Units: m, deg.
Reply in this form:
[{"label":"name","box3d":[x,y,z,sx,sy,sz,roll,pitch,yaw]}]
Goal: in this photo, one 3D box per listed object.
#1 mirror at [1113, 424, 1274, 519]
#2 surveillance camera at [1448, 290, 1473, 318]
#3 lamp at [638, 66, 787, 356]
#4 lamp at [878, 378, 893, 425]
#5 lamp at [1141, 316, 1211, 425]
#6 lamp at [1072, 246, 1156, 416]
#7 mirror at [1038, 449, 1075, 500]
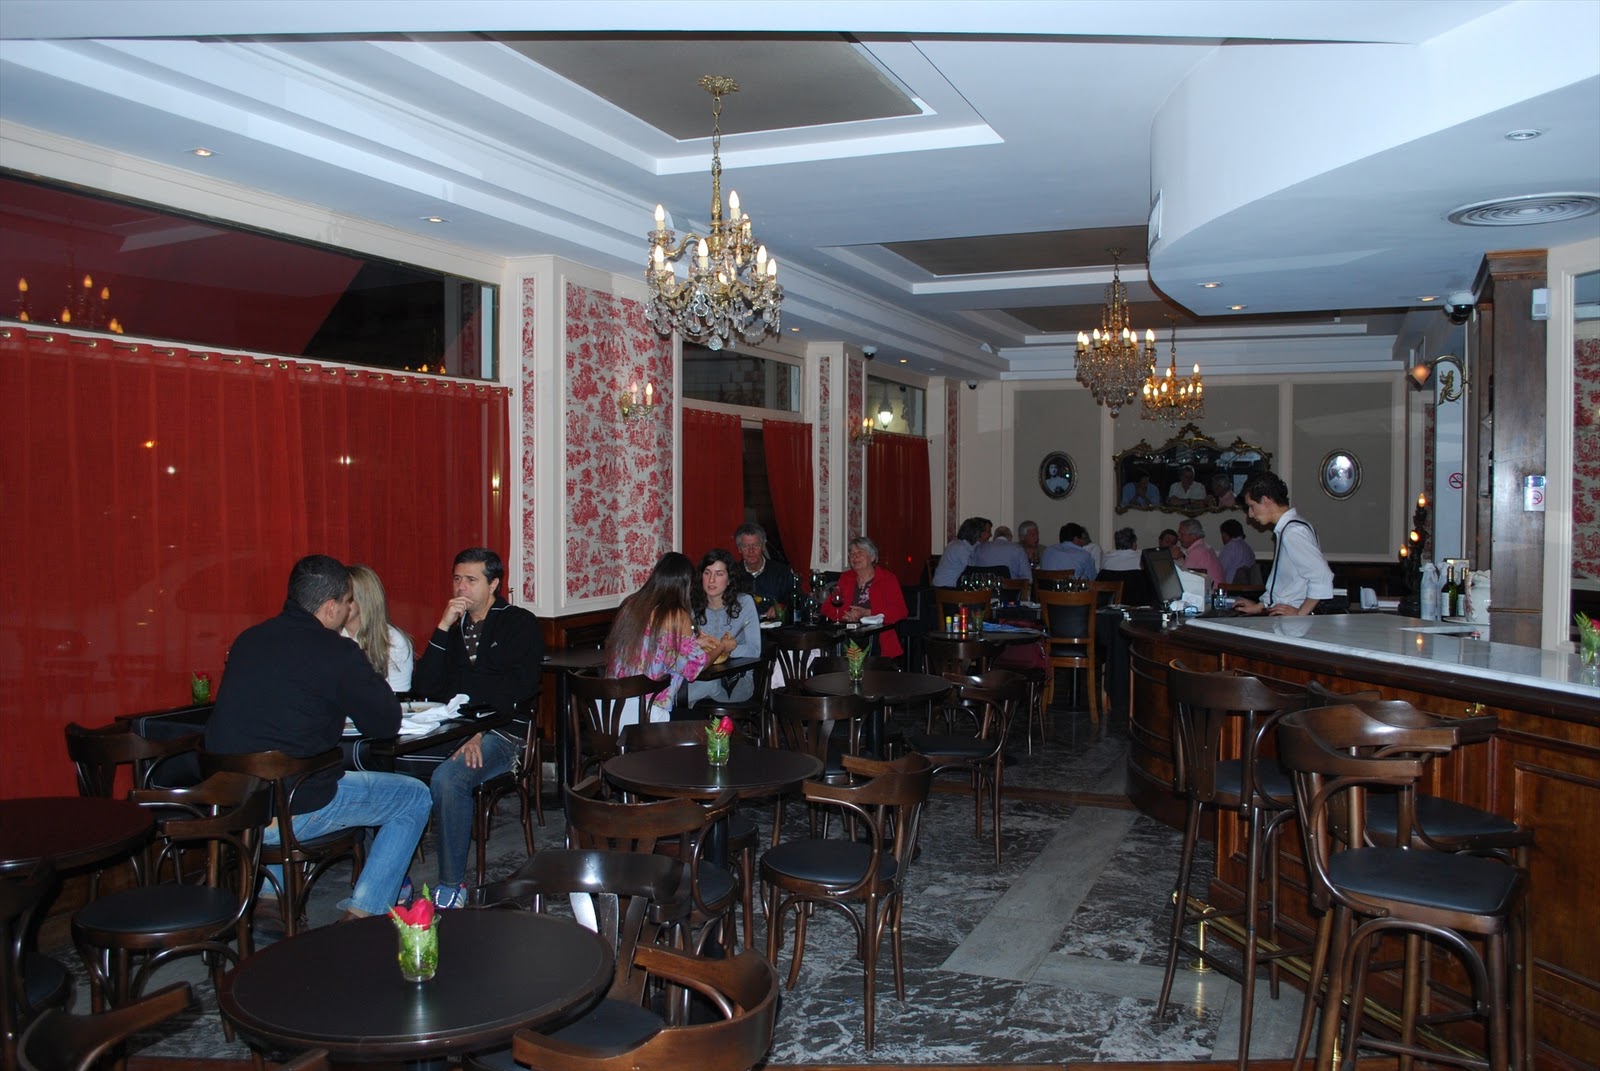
[{"label":"mirror","box3d":[4.924,-0.821,14.192,1.809,1.239,0.039,-1,10,8]},{"label":"surveillance camera","box3d":[4.450,-1.544,7.604,0.129,0.070,0.184,5,-12,4]},{"label":"lamp","box3d":[-0.531,-1.837,6.850,0.760,1.439,2.125,-1,7,-6]},{"label":"lamp","box3d":[1.011,-1.591,13.526,0.090,0.408,0.580,-1,0,23]},{"label":"lamp","box3d":[4.039,-1.800,12.357,0.656,1.031,0.628,2,-5,-31]},{"label":"lamp","box3d":[2.967,-1.815,10.611,0.776,1.252,0.743,1,13,15]},{"label":"mirror","box3d":[3.362,-0.789,14.719,0.631,0.798,0.089,1,1,24]}]
